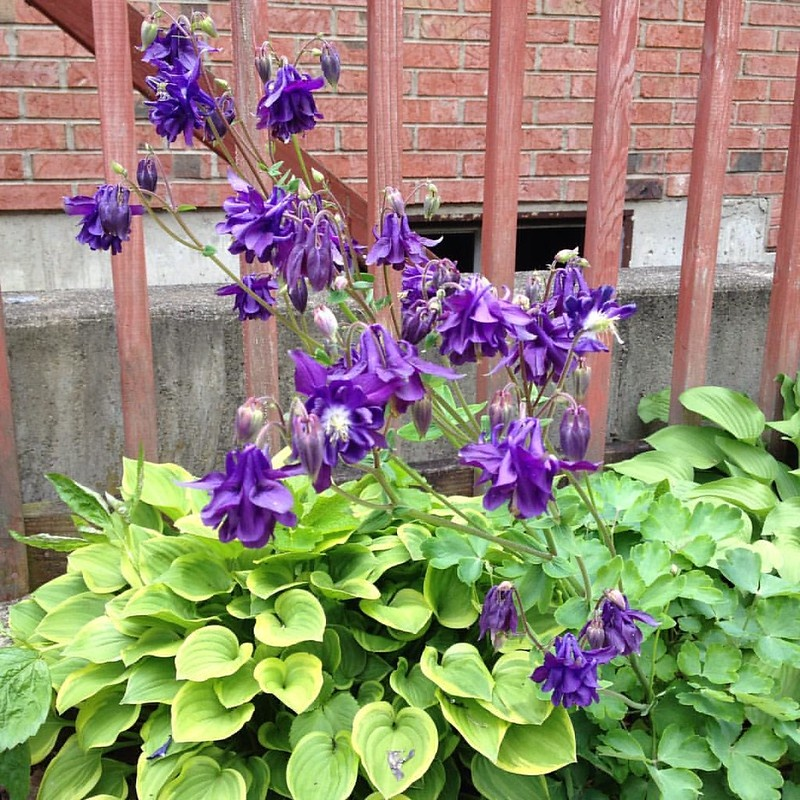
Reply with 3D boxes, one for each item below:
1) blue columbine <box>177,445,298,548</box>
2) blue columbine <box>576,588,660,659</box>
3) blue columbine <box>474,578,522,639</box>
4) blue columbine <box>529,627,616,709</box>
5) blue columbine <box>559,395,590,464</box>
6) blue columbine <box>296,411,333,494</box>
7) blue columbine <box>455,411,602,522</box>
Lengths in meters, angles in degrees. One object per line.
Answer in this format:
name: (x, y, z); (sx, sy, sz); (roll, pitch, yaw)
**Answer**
blue columbine: (-0.293, 0.182, 1.943); (0.203, 0.216, 0.166); (0, 10, -9)
blue columbine: (0.415, 0.451, 2.089); (0.129, 0.085, 0.119); (1, 23, 30)
blue columbine: (0.208, 0.432, 2.145); (0.076, 0.158, 0.138); (2, 10, 6)
blue columbine: (0.346, 0.535, 2.065); (0.158, 0.161, 0.067); (1, 10, -1)
blue columbine: (0.349, 0.062, 2.052); (0.046, 0.143, 0.046); (4, 24, 20)
blue columbine: (-0.147, 0.098, 1.871); (0.046, 0.151, 0.090); (9, 12, 39)
blue columbine: (0.237, 0.128, 1.913); (0.255, 0.188, 0.078); (2, 10, 2)
